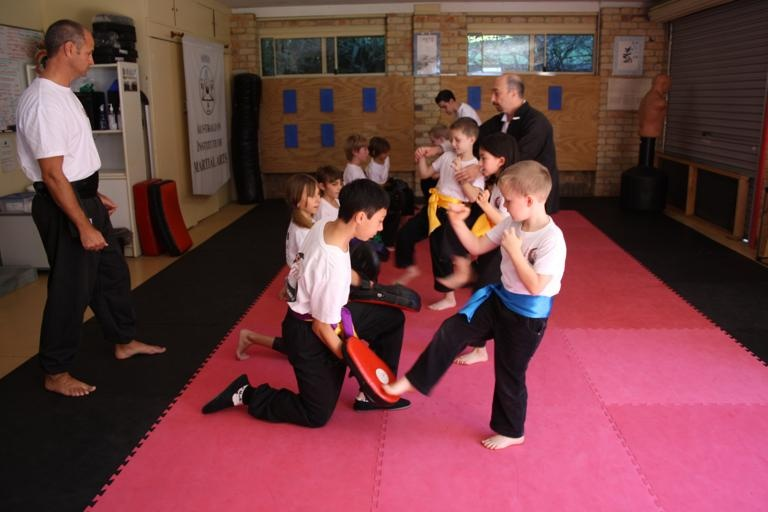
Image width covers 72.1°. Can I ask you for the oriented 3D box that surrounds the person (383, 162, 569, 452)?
[{"bbox_3d":[0.697,0.348,3.438,0.915,1.872,0.676,0,20,4],"label":"person"}]

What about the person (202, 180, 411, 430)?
[{"bbox_3d":[-0.403,0.388,3.588,1.530,1.685,0.835,-7,20,-36],"label":"person"}]

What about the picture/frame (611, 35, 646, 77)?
[{"bbox_3d":[4.279,-3.566,9.280,0.634,0.774,0.056,-1,12,2],"label":"picture/frame"}]
